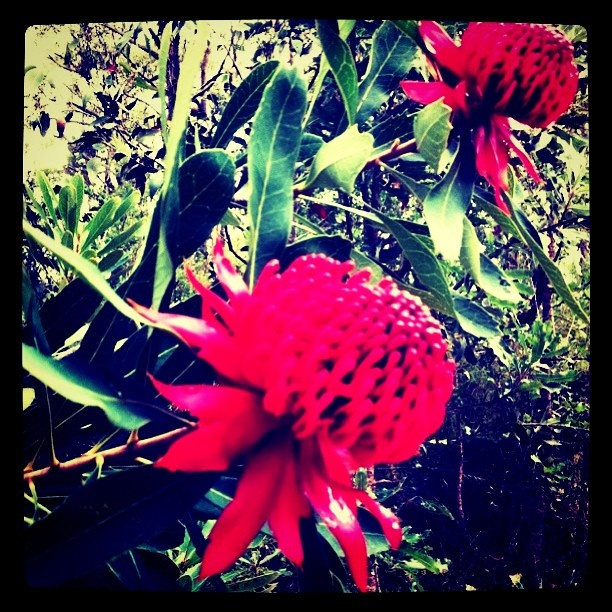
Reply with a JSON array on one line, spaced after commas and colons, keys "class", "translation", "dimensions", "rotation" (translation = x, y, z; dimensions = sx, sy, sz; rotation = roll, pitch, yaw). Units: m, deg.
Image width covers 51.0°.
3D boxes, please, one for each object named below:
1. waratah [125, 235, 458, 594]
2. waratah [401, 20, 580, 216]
[{"class": "waratah", "translation": [-0.025, 0.180, 1.049], "dimensions": [0.503, 0.491, 0.488], "rotation": [14, -28, -36]}, {"class": "waratah", "translation": [0.271, -0.315, 0.985], "dimensions": [0.238, 0.270, 0.129], "rotation": [19, 26, -6]}]
